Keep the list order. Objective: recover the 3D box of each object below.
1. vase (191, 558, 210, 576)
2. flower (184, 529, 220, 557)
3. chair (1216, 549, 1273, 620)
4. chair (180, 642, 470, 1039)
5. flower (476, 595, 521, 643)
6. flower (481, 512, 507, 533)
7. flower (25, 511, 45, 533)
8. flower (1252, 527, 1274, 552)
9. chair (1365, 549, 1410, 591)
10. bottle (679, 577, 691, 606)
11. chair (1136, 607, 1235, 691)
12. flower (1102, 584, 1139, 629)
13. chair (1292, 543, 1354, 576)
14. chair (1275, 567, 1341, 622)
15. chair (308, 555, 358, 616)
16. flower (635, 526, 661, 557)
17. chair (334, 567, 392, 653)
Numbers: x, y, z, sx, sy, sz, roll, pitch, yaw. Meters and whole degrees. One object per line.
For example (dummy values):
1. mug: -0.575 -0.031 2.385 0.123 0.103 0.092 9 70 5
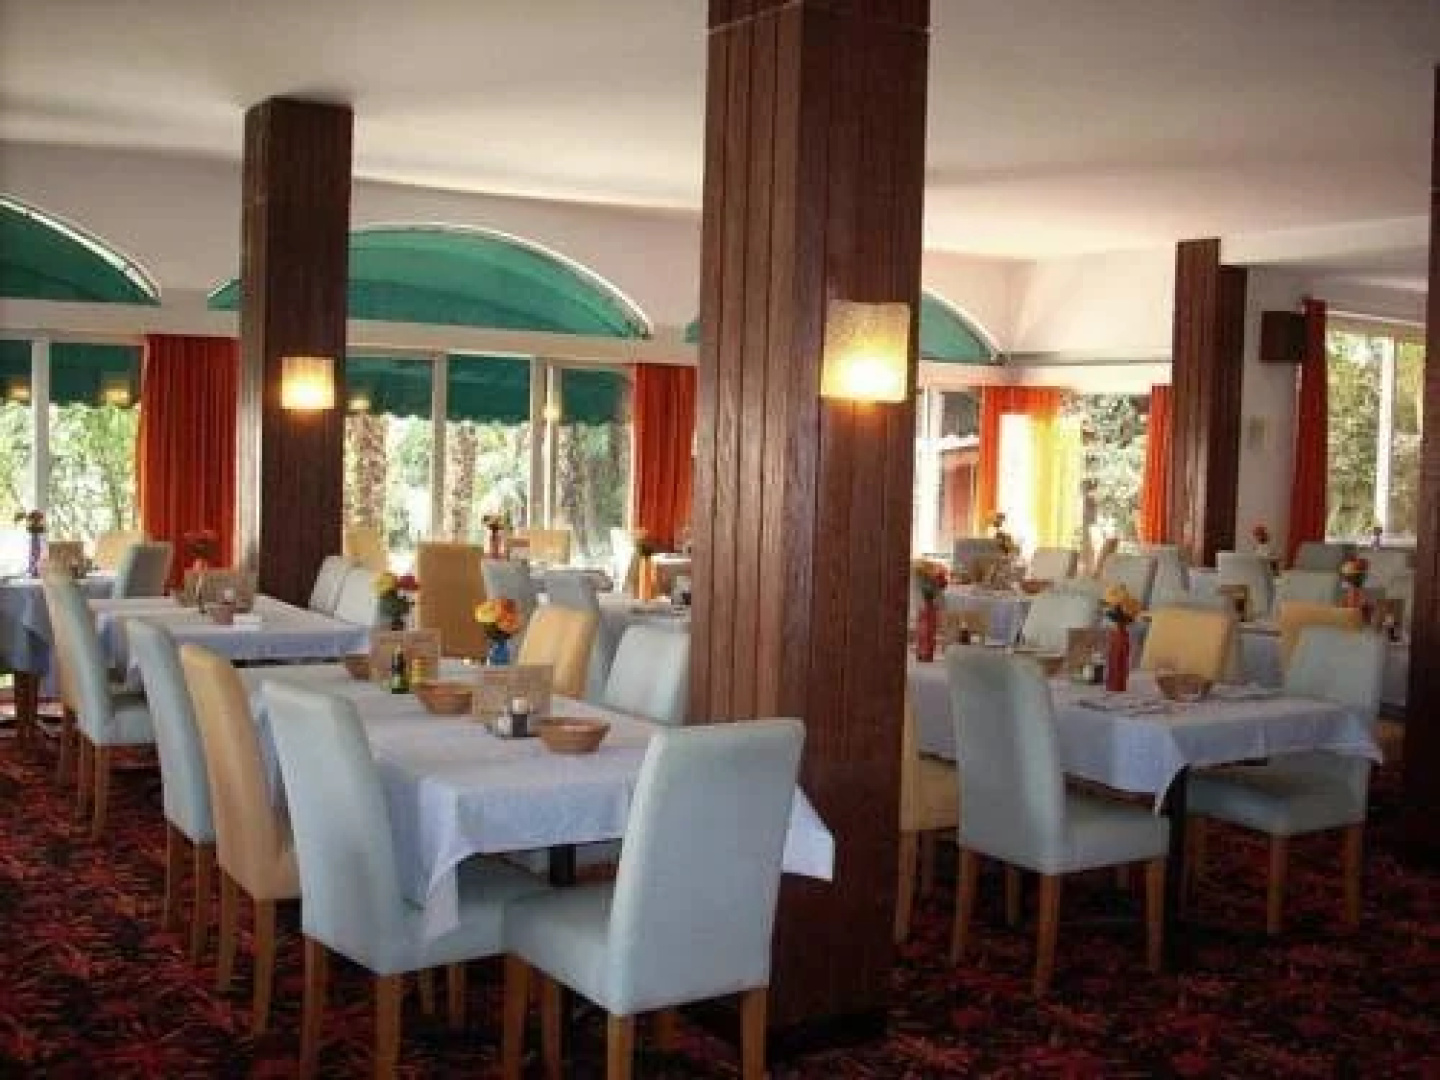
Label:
1. vase: -3.247 0.176 6.934 0.095 0.106 0.097 1 2 -38
2. flower: -3.548 0.027 7.594 0.205 0.219 0.199 -4 -7 -18
3. chair: 3.948 0.354 8.314 0.379 0.657 0.369 -5 9 -37
4. chair: -1.448 0.828 4.371 1.126 1.998 1.055 -3 8 -24
5. flower: -0.832 0.307 4.164 0.143 0.180 0.297 1 5 -10
6. flower: -1.880 -0.143 9.341 0.186 0.205 0.197 -8 8 -27
7. flower: -4.780 -0.099 7.721 0.090 0.154 0.315 -2 6 -37
8. flower: 5.423 0.007 11.079 0.206 0.348 0.227 4 10 36
9. chair: 5.629 0.275 9.331 0.301 0.431 0.358 3 1 35
10. bottle: -0.241 0.340 7.300 0.049 0.168 0.110 -1 6 -35
11. chair: 2.298 0.544 5.427 0.343 0.503 0.367 7 -7 45
12. flower: 1.804 0.304 4.963 0.124 0.190 0.224 4 5 23
13. chair: 5.495 0.185 10.073 0.238 0.322 0.256 3 -2 43
14. chair: 3.974 0.384 7.489 0.299 0.408 0.321 2 -3 17
15. chair: -2.425 0.298 6.943 0.231 0.433 0.233 23 -6 -42
16. flower: -0.616 0.032 9.319 0.238 0.267 0.255 0 2 -6
17. chair: -2.179 0.480 6.532 0.298 0.484 0.283 26 -5 -22
